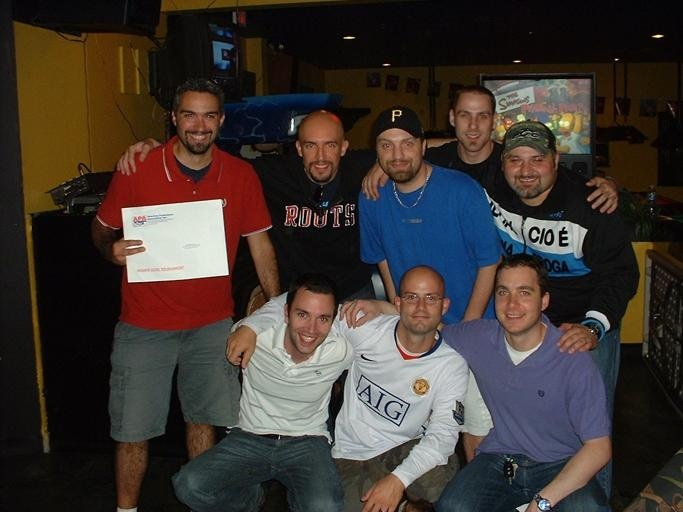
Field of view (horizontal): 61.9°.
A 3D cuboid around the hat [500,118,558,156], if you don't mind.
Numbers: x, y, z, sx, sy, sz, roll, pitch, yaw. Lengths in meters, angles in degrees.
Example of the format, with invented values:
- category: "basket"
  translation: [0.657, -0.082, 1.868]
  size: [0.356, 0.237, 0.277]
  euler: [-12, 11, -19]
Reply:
- category: "hat"
  translation: [1.142, -0.730, 3.469]
  size: [0.306, 0.246, 0.431]
  euler: [3, 7, 24]

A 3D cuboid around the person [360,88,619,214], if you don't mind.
- category: "person"
  translation: [0.963, -0.651, 4.094]
  size: [2.275, 1.089, 0.584]
  euler: [2, 18, 18]

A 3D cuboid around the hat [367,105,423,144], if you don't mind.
- category: "hat"
  translation: [0.340, -0.853, 3.562]
  size: [0.289, 0.207, 0.396]
  euler: [0, 6, 11]

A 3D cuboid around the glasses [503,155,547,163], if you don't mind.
- category: "glasses"
  translation: [1.081, -0.585, 3.360]
  size: [0.228, 0.034, 0.066]
  euler: [4, 13, 18]

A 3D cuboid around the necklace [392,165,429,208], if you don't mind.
- category: "necklace"
  translation: [0.436, -0.446, 3.534]
  size: [0.187, 0.256, 0.063]
  euler: [1, 7, 9]

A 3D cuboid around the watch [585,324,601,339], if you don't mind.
- category: "watch"
  translation: [1.410, 0.412, 3.186]
  size: [0.117, 0.040, 0.047]
  euler: [47, 19, 15]

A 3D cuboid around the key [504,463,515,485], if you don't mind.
- category: "key"
  translation: [0.929, 1.206, 3.147]
  size: [0.063, 0.100, 0.033]
  euler: [-1, -2, 32]
